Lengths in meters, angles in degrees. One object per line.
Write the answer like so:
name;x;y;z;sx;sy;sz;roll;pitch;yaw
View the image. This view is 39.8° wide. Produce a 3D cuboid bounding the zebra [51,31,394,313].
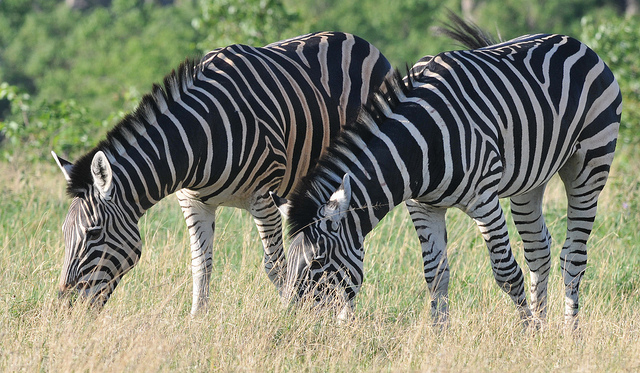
zebra;-1.322;-0.353;13.761;1.895;3.582;6.333;17;28;39
